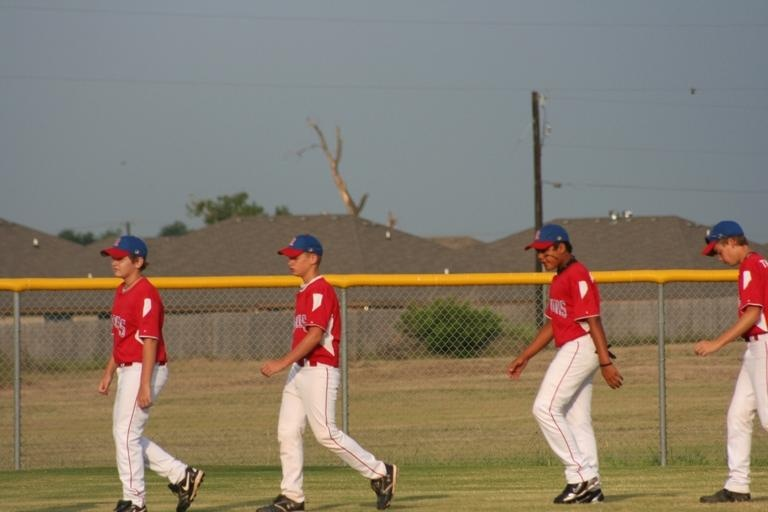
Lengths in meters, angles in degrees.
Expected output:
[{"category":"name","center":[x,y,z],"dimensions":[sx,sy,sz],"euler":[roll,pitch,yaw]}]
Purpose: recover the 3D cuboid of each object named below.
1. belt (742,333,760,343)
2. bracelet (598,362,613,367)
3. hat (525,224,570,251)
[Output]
[{"category":"belt","center":[5.723,1.272,29.933],"dimensions":[0.194,0.128,0.245],"euler":[0,1,-25]},{"category":"bracelet","center":[3.452,1.694,29.976],"dimensions":[0.204,0.088,0.127],"euler":[2,5,19]},{"category":"hat","center":[2.614,-0.309,30.317],"dimensions":[0.596,0.311,0.409],"euler":[1,-1,-6]}]
